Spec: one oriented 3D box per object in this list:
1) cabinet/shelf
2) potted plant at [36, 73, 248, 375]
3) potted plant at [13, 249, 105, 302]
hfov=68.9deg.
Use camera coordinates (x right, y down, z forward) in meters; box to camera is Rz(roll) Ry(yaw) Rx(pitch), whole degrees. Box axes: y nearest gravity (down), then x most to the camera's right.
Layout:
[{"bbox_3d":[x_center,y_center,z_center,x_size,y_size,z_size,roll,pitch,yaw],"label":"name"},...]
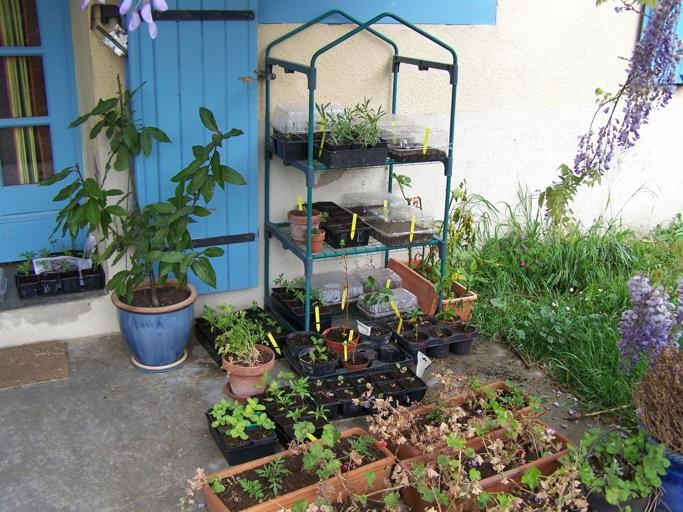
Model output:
[{"bbox_3d":[0.155,-0.722,4.020,1.607,2.400,1.080,-6,21,-18],"label":"cabinet/shelf"},{"bbox_3d":[-1.312,-0.213,3.593,1.236,1.994,0.928,-3,20,-10],"label":"potted plant"},{"bbox_3d":[-2.226,0.155,3.919,0.444,0.146,0.437,-7,19,-23],"label":"potted plant"}]
